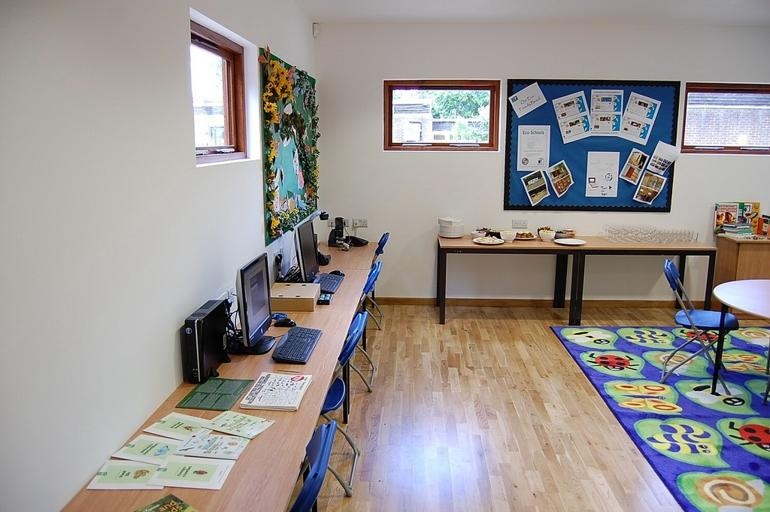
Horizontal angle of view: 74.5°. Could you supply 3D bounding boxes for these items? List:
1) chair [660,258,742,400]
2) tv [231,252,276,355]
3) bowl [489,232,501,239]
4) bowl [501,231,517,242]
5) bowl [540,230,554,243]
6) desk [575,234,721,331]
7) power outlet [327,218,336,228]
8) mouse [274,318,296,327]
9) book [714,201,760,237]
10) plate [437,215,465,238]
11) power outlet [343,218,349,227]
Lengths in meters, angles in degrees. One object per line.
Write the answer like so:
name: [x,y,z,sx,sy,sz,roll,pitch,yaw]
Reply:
chair: [3.284,0.743,5.268,0.737,1.286,0.740,5,-4,34]
tv: [-0.993,0.375,3.793,0.283,0.728,0.645,1,10,2]
bowl: [1.446,-0.292,6.626,0.145,0.097,0.078,3,20,6]
bowl: [1.586,-0.267,6.517,0.144,0.114,0.160,-1,6,-4]
bowl: [2.088,-0.263,6.517,0.165,0.118,0.137,1,9,2]
desk: [3.294,0.323,6.709,1.721,1.019,0.969,0,12,11]
power outlet: [-0.724,-0.467,6.913,0.123,0.045,0.196,4,40,-1]
mouse: [-0.809,0.538,4.120,0.126,0.041,0.073,2,8,-4]
book: [4.660,-0.501,6.659,0.489,0.456,0.162,1,1,6]
plate: [0.886,-0.408,6.731,0.288,0.207,0.292,1,7,2]
power outlet: [-0.517,-0.472,6.938,0.084,0.105,0.052,-5,13,-27]
